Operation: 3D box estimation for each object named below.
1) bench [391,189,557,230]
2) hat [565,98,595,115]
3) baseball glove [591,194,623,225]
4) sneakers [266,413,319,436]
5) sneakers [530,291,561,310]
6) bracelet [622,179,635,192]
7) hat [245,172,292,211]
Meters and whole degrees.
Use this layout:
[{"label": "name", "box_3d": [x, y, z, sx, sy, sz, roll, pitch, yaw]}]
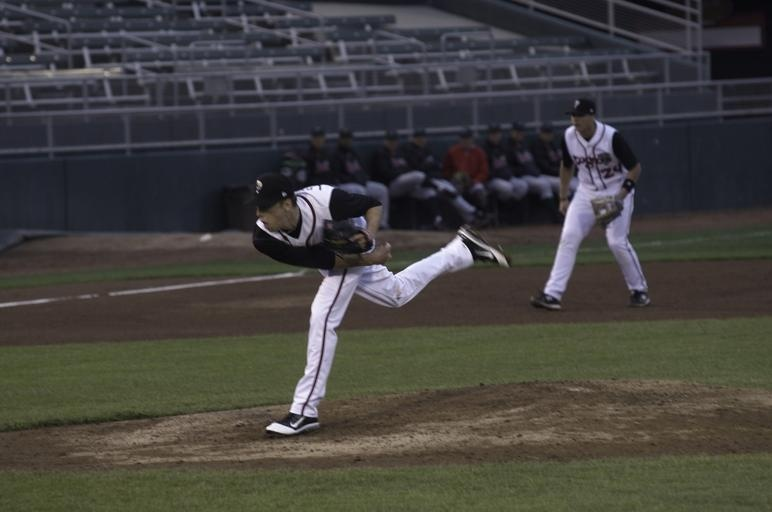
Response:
[{"label": "bench", "box_3d": [1.407, -0.741, 27.511, 4.096, 0.500, 0.856, -1, -1, -9]}, {"label": "hat", "box_3d": [2.621, -1.964, 22.318, 0.430, 0.221, 0.278, 0, 10, -21]}, {"label": "baseball glove", "box_3d": [2.903, -0.613, 22.282, 0.416, 0.370, 0.216, -1, 4, 7]}, {"label": "sneakers", "box_3d": [-1.117, 1.989, 20.132, 0.719, 0.245, 0.237, -1, 16, -13]}, {"label": "sneakers", "box_3d": [2.129, 0.601, 22.680, 0.489, 0.208, 0.181, 12, 5, -13]}, {"label": "bracelet", "box_3d": [3.216, -0.944, 22.388, 0.179, 0.128, 0.168, 24, 7, -7]}, {"label": "hat", "box_3d": [-1.400, -0.800, 19.853, 0.546, 0.267, 0.382, -22, 27, -30]}]
